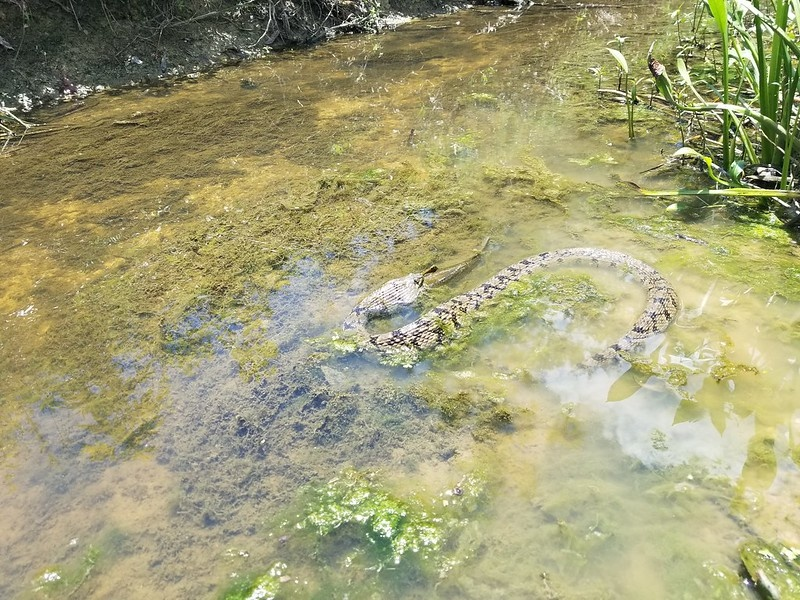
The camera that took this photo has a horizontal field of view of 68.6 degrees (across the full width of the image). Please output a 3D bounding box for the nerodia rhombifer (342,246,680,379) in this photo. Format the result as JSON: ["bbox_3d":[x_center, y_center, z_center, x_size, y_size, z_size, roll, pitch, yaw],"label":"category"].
[{"bbox_3d":[1.113,-0.011,6.505,2.663,0.330,1.538,-12,39,-2],"label":"nerodia rhombifer"}]
